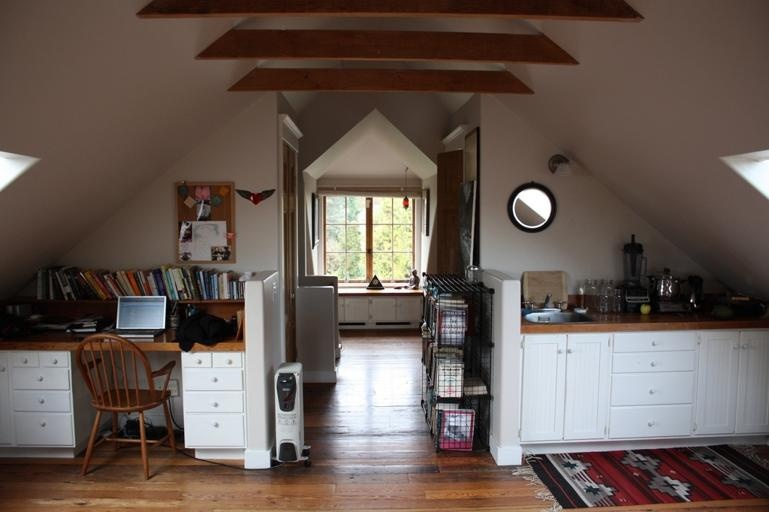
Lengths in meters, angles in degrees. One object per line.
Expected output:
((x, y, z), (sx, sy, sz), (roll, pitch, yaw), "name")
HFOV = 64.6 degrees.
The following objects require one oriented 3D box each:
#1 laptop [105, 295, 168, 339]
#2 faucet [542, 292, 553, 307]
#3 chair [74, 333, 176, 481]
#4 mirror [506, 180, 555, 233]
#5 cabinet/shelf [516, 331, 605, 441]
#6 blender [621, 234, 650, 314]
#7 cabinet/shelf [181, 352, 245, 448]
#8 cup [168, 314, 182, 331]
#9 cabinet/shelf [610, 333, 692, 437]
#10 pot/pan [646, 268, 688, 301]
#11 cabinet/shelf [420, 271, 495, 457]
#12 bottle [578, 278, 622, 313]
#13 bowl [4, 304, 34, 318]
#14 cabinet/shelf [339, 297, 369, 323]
((-2.336, 0.571, 5.718), (0.475, 0.318, 0.363), (1, 2, 0), "laptop")
((1.684, 0.442, 6.227), (0.085, 0.146, 0.179), (-1, -3, 14), "faucet")
((-2.358, 1.288, 5.671), (0.865, 1.203, 0.905), (0, 0, 38), "chair")
((1.552, -0.505, 6.401), (0.528, 0.538, 0.521), (-2, 18, 3), "mirror")
((1.601, 1.158, 5.615), (1.021, 1.180, 0.600), (0, -1, -2), "cabinet/shelf")
((2.546, 0.161, 6.160), (0.263, 0.769, 0.215), (-1, -3, 24), "blender")
((-1.537, 1.312, 5.743), (0.616, 0.981, 0.565), (0, 6, -10), "cabinet/shelf")
((-2.048, 0.642, 5.969), (0.126, 0.132, 0.126), (0, -2, 0), "cup")
((2.494, 1.198, 5.978), (0.831, 1.105, 0.744), (-1, 6, -5), "cabinet/shelf")
((2.851, 0.260, 6.151), (0.385, 0.268, 0.341), (0, 1, 20), "pot/pan")
((0.733, 1.053, 5.824), (0.525, 1.524, 1.622), (1, 3, 0), "cabinet/shelf")
((2.221, 0.400, 6.245), (0.418, 0.344, 0.384), (-1, -3, 11), "bottle")
((-3.573, 0.522, 5.957), (0.247, 0.117, 0.156), (2, -4, -34), "bowl")
((-0.451, 0.796, 9.580), (0.553, 0.514, 0.370), (0, -2, -3), "cabinet/shelf")
